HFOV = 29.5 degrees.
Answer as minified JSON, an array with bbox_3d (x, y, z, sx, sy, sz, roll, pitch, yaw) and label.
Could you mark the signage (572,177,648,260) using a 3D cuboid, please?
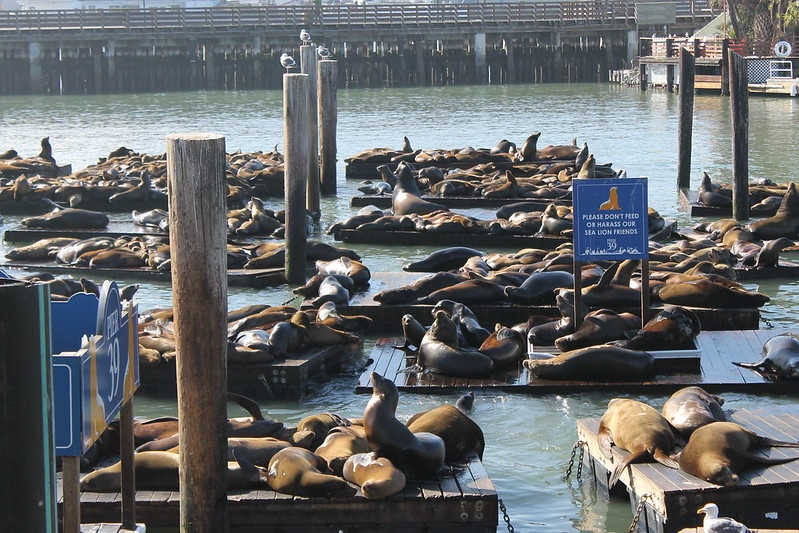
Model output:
[{"bbox_3d":[3.977,-0.904,28.510,1.447,1.516,0.146,0,1,3],"label":"signage"}]
